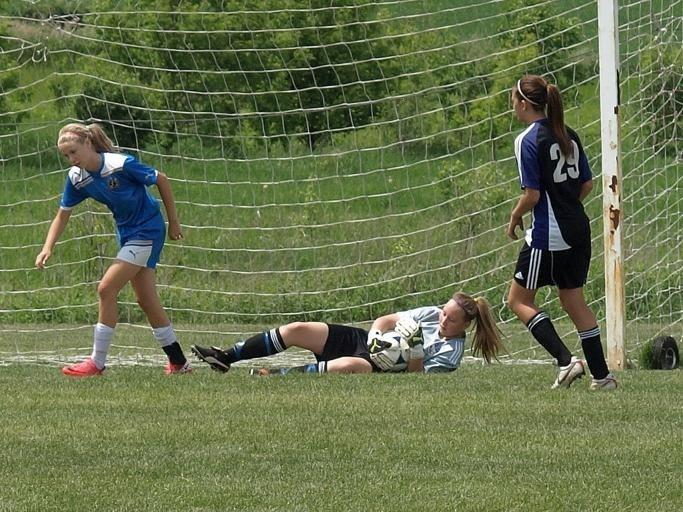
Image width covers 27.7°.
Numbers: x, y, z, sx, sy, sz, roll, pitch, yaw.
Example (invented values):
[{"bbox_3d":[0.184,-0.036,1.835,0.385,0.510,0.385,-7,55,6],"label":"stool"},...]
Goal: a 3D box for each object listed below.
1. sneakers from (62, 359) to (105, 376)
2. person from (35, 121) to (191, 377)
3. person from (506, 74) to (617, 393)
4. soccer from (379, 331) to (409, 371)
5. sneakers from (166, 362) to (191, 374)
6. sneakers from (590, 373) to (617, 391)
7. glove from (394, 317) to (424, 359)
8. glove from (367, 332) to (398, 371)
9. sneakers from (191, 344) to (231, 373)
[{"bbox_3d":[-2.417,1.055,12.971,0.306,0.141,0.173,4,-4,1],"label":"sneakers"},{"bbox_3d":[-2.059,-0.059,12.920,1.257,2.325,0.398,-1,-1,-9],"label":"person"},{"bbox_3d":[1.890,-0.224,12.231,0.833,2.790,0.463,-1,-1,6],"label":"person"},{"bbox_3d":[0.539,0.888,13.074,0.241,0.287,0.347,-15,26,17],"label":"soccer"},{"bbox_3d":[-1.547,1.058,13.168,0.289,0.134,0.101,-3,3,-3],"label":"sneakers"},{"bbox_3d":[2.315,1.122,12.230,0.272,0.137,0.105,1,1,1],"label":"sneakers"},{"bbox_3d":[0.646,0.755,13.086,0.237,0.371,0.107,-23,10,-14],"label":"glove"},{"bbox_3d":[0.400,0.899,13.012,0.285,0.373,0.139,-1,-1,-2],"label":"glove"},{"bbox_3d":[-1.218,0.961,13.015,0.367,0.271,0.244,-1,-1,-9],"label":"sneakers"}]
